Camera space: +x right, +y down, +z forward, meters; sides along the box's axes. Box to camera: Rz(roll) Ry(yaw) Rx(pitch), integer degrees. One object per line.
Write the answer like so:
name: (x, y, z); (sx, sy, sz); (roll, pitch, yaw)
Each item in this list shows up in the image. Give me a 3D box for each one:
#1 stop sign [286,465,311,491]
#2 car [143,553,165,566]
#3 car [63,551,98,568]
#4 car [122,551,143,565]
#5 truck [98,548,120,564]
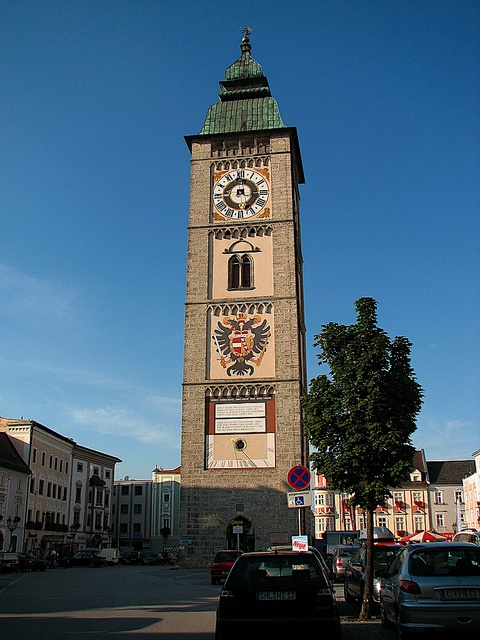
stop sign: (1.493, 3.876, 16.392); (0.487, 0.625, 1.598); (-3, -19, 6)
car: (-9.410, 25.701, 71.401); (1.193, 0.951, 2.041); (-2, -40, 9)
car: (-13.705, 20.866, 57.795); (2.536, 1.132, 1.364); (3, -19, 0)
car: (-11.164, 24.883, 69.532); (1.146, 0.916, 1.866); (-1, -32, 2)
truck: (-12.421, 22.572, 62.823); (1.609, 1.388, 2.444); (-1, -11, 2)
